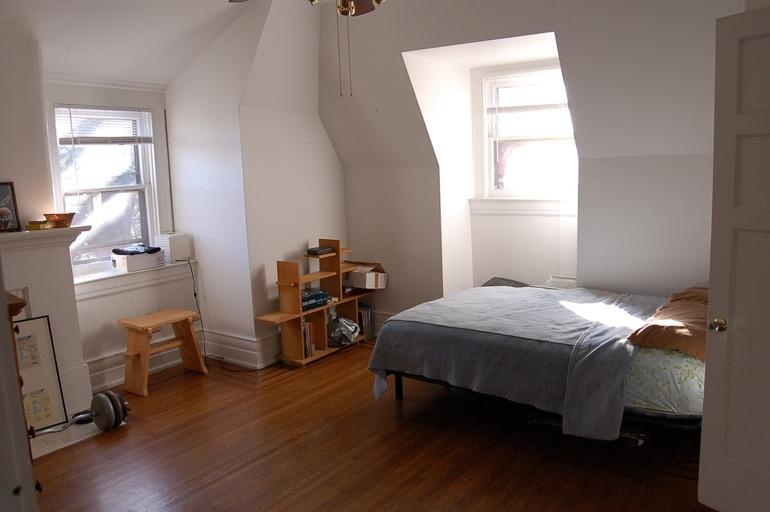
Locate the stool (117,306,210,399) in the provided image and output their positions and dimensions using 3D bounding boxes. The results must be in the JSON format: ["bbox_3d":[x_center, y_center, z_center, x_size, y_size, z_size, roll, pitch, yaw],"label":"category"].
[{"bbox_3d":[-2.134,0.844,5.047,0.543,0.800,0.700,8,10,28],"label":"stool"}]

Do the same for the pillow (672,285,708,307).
[{"bbox_3d":[2.463,0.319,4.242,0.173,0.063,0.226,-8,9,-40],"label":"pillow"}]

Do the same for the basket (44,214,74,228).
[{"bbox_3d":[-2.684,-0.296,4.343,0.142,0.070,0.144,-1,0,10],"label":"basket"}]

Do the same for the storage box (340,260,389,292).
[{"bbox_3d":[-0.222,0.229,5.999,0.363,0.241,0.366,-4,8,-37],"label":"storage box"}]

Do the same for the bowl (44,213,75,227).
[{"bbox_3d":[-2.686,-0.296,4.354,0.143,0.073,0.145,0,0,0],"label":"bowl"}]

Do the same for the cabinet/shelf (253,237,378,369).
[{"bbox_3d":[-0.691,0.454,5.625,0.510,1.195,1.378,6,16,38],"label":"cabinet/shelf"}]

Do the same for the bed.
[{"bbox_3d":[1.080,0.869,4.591,2.377,0.630,2.076,8,4,0],"label":"bed"}]

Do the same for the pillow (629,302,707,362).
[{"bbox_3d":[2.027,0.533,3.746,0.446,0.236,0.573,4,14,33],"label":"pillow"}]
